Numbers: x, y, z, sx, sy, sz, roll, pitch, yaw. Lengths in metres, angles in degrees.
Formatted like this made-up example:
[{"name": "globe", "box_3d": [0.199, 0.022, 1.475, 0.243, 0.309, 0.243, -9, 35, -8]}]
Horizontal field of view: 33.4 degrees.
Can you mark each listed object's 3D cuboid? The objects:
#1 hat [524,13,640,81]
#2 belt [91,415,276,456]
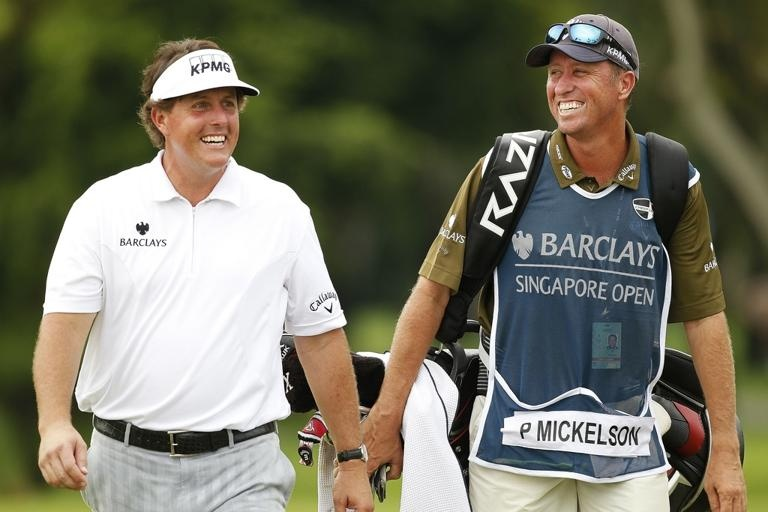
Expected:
[{"name": "hat", "box_3d": [1.311, -1.289, 8.289, 0.557, 0.313, 0.427, 20, -2, -28]}, {"name": "belt", "box_3d": [-1.227, 1.121, 7.857, 1.100, 0.221, 0.244, 3, -10, -11]}]
